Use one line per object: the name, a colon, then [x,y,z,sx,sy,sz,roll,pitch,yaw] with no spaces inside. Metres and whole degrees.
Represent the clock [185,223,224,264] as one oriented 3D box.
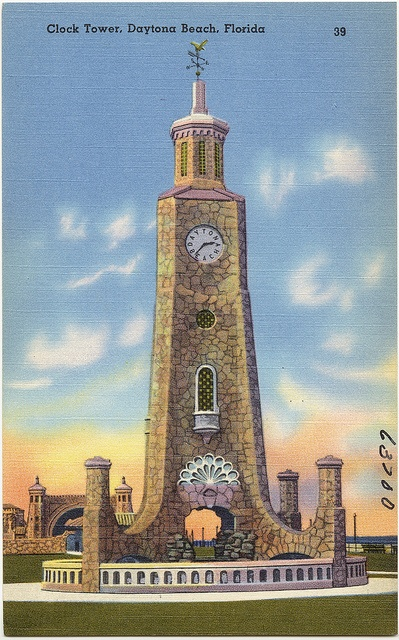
clock: [0.129,-2.073,39.577,1.125,1.089,0.154,3,-17,-13]
